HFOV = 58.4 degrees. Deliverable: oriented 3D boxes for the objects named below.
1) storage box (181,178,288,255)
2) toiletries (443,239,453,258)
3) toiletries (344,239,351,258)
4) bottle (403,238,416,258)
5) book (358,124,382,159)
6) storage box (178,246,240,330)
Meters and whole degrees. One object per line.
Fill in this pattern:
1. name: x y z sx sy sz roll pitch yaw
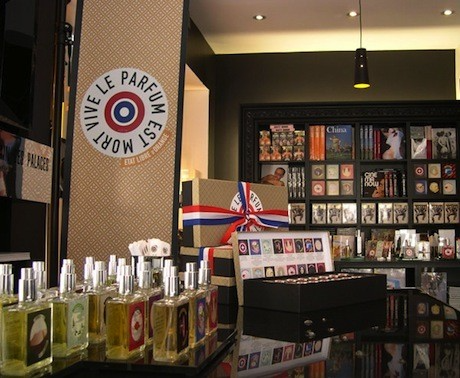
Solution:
1. storage box: 0.045 0.094 1.493 0.410 0.228 0.126 5 -7 -38
2. toiletries: 2.313 0.636 4.339 0.120 0.191 0.251 10 6 29
3. toiletries: 1.303 0.662 4.542 0.068 0.152 0.243 8 5 16
4. bottle: 1.909 0.637 4.395 0.150 0.231 0.076 2 -5 -13
5. book: 1.627 -0.518 4.781 0.308 0.520 0.354 1 -1 7
6. storage box: -0.062 0.275 1.215 0.142 0.171 0.209 -2 -3 21
